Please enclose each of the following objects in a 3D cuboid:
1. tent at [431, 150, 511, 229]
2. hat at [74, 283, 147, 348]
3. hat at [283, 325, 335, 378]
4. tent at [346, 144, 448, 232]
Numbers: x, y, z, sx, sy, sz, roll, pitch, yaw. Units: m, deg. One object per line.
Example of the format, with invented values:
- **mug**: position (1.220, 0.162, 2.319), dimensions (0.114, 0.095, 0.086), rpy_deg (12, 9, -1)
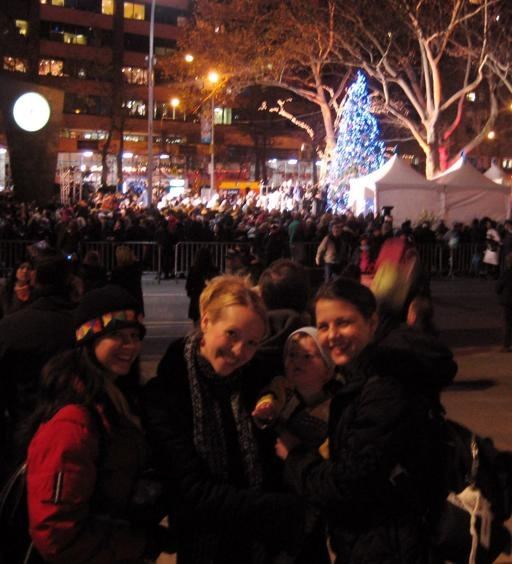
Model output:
- **tent**: position (8.647, -3.827, 26.471), dimensions (2.382, 2.307, 2.686), rpy_deg (-2, 8, -12)
- **hat**: position (-0.545, 0.107, 2.378), dimensions (0.190, 0.191, 0.210), rpy_deg (-21, -15, 8)
- **hat**: position (0.219, 0.262, 2.533), dimensions (0.113, 0.139, 0.254), rpy_deg (0, 6, -30)
- **tent**: position (5.464, -3.963, 26.367), dimensions (2.724, 2.364, 3.019), rpy_deg (-1, 8, -5)
